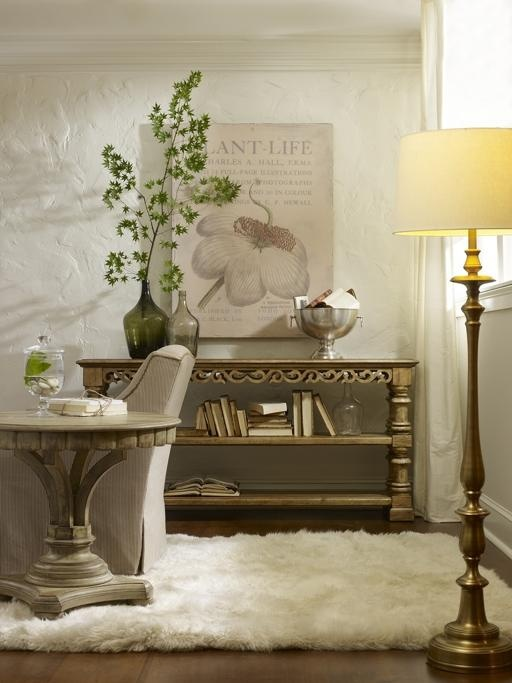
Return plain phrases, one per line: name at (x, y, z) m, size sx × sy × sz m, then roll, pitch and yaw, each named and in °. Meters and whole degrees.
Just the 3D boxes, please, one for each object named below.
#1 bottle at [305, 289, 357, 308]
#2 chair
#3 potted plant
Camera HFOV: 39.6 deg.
bottle at (0.373, -0.209, 3.527) m, size 0.251 × 0.110 × 0.219 m, roll 0°, pitch 0°, yaw 2°
chair at (-0.495, 0.442, 2.696) m, size 0.783 × 0.753 × 0.605 m, roll 1°, pitch -7°, yaw 0°
potted plant at (-0.439, -0.671, 3.675) m, size 0.702 × 1.518 × 0.416 m, roll 0°, pitch 1°, yaw -12°
